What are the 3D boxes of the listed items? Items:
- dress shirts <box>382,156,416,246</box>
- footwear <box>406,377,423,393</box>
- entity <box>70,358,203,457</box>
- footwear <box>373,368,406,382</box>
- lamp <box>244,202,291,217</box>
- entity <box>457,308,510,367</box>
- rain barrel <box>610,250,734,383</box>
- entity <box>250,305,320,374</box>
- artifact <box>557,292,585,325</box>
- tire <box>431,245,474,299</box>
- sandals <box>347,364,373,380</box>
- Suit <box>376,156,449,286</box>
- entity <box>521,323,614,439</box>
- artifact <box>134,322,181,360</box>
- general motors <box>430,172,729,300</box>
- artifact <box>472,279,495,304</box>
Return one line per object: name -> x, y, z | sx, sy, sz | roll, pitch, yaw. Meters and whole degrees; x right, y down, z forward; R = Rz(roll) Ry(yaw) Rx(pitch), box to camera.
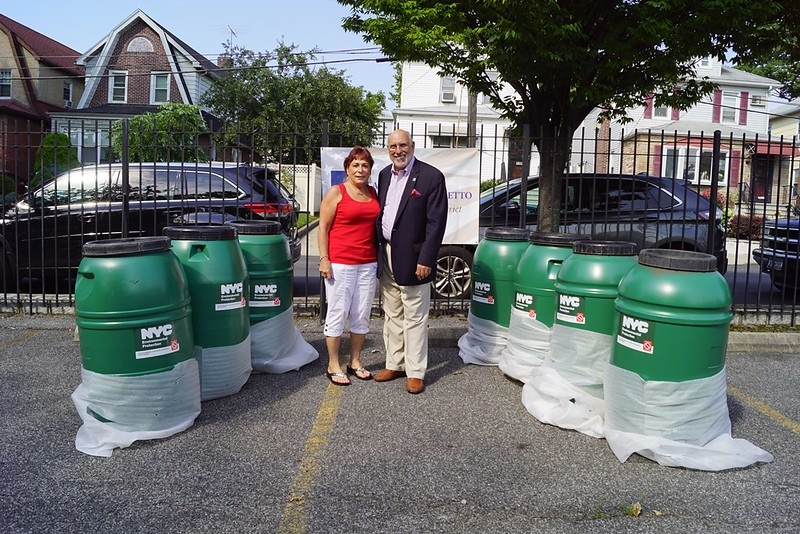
dress shirts -> -0.065, -0.759, 7.080 | 0.561, 0.807, 0.249 | 0, -8, 39
footwear -> 0.160, 1.295, 6.944 | 0.145, 0.117, 0.287 | 1, -2, 3
entity -> -2.499, 1.312, 6.102 | 0.748, 0.688, 0.977 | 7, 9, 40
footwear -> -0.139, 1.233, 7.293 | 0.375, 0.162, 0.128 | 7, 0, -28
lamp -> -2.018, -0.910, 9.861 | 0.730, 0.232, 0.350 | -6, 10, -16
entity -> 1.130, 0.867, 8.007 | 0.723, 0.746, 0.663 | 8, 5, -12
rain barrel -> 2.355, 0.419, 6.225 | 1.062, 1.263, 1.114 | 1, 3, 3
entity -> -1.343, 0.839, 7.444 | 0.693, 0.542, 0.711 | -1, 8, 7
artifact -> 1.727, 0.431, 6.469 | 0.271, 0.262, 0.269 | 2, 0, 44
tire -> 0.767, 0.061, 9.431 | 0.757, 0.786, 0.267 | 2, 5, -12
sandals -> -0.456, 1.208, 7.285 | 0.248, 0.077, 0.135 | 7, 9, 43
Suit -> 0.205, -0.500, 6.972 | 0.560, 1.357, 0.451 | -11, 12, -39
entity -> 1.776, 1.001, 6.615 | 0.951, 1.047, 1.095 | -2, 11, -33
artifact -> -2.252, 0.690, 5.938 | 0.304, 0.232, 0.311 | -2, -2, 17
general motors -> 2.582, -0.499, 11.252 | 5.678, 2.274, 2.578 | 1, 1, 0
artifact -> 1.002, 0.313, 7.767 | 0.245, 0.237, 0.248 | 2, -1, 27
